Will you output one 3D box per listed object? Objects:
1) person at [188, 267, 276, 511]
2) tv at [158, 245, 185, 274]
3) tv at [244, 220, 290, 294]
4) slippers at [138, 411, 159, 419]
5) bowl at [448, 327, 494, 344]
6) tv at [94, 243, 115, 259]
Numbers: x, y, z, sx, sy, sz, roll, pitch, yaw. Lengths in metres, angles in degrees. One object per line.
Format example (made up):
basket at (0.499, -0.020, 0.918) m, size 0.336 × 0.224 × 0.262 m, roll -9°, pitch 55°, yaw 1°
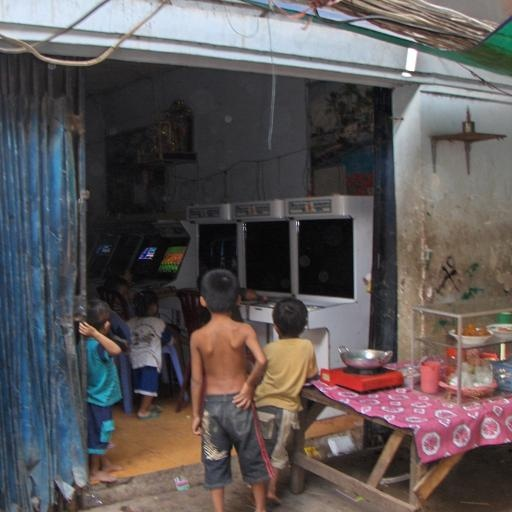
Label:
person at (-0.142, 0.698, 2.894) m, size 0.366 × 1.246 × 0.299 m, roll -4°, pitch 4°, yaw -8°
tv at (-0.893, 0.043, 6.107) m, size 0.334 × 0.451 × 0.009 m, roll -9°, pitch -47°, yaw 35°
tv at (0.113, 0.004, 5.186) m, size 0.040 × 0.749 × 0.689 m, roll -3°, pitch 4°, yaw -39°
slippers at (-0.825, 1.209, 4.401) m, size 0.158 × 0.044 × 0.054 m, roll -1°, pitch 2°, yaw -12°
bowl at (1.082, 0.399, 2.886) m, size 0.266 × 0.076 × 0.106 m, roll -4°, pitch 3°, yaw -19°
tv at (-1.956, -0.090, 7.397) m, size 0.205 × 0.181 × 0.056 m, roll -5°, pitch -32°, yaw 31°
